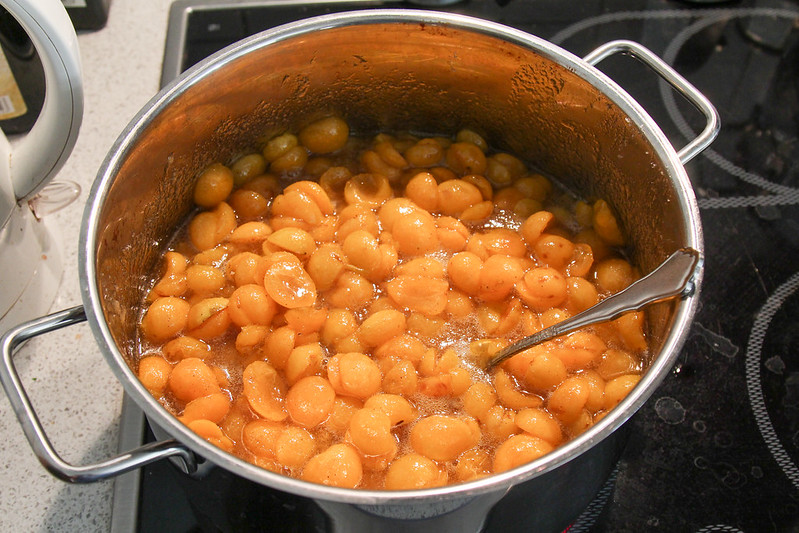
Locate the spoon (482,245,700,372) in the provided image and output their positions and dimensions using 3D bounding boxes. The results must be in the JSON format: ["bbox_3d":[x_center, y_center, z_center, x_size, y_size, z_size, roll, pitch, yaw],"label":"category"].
[{"bbox_3d":[0.319,0.094,1.412,0.324,0.254,0.075,-14,60,-12],"label":"spoon"}]
